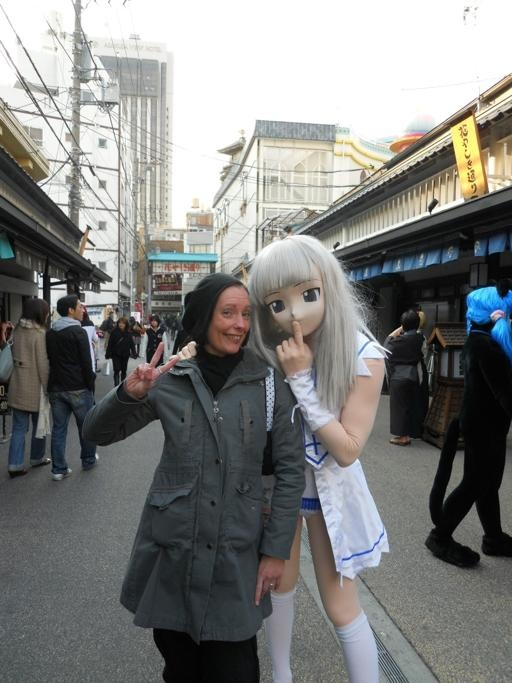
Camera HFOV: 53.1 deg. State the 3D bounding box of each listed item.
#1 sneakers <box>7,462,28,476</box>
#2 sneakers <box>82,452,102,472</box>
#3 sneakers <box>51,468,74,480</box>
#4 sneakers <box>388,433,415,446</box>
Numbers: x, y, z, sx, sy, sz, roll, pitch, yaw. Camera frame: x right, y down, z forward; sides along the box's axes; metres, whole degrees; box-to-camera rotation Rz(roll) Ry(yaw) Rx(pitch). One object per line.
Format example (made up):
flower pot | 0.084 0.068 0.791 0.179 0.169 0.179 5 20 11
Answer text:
sneakers | -2.471 1.322 5.331 0.070 0.116 0.226 1 4 19
sneakers | -1.832 1.327 5.687 0.074 0.115 0.227 0 14 6
sneakers | -1.999 1.353 5.254 0.161 0.083 0.294 -1 0 -1
sneakers | 1.936 1.304 6.817 0.121 0.168 0.341 4 6 -35
